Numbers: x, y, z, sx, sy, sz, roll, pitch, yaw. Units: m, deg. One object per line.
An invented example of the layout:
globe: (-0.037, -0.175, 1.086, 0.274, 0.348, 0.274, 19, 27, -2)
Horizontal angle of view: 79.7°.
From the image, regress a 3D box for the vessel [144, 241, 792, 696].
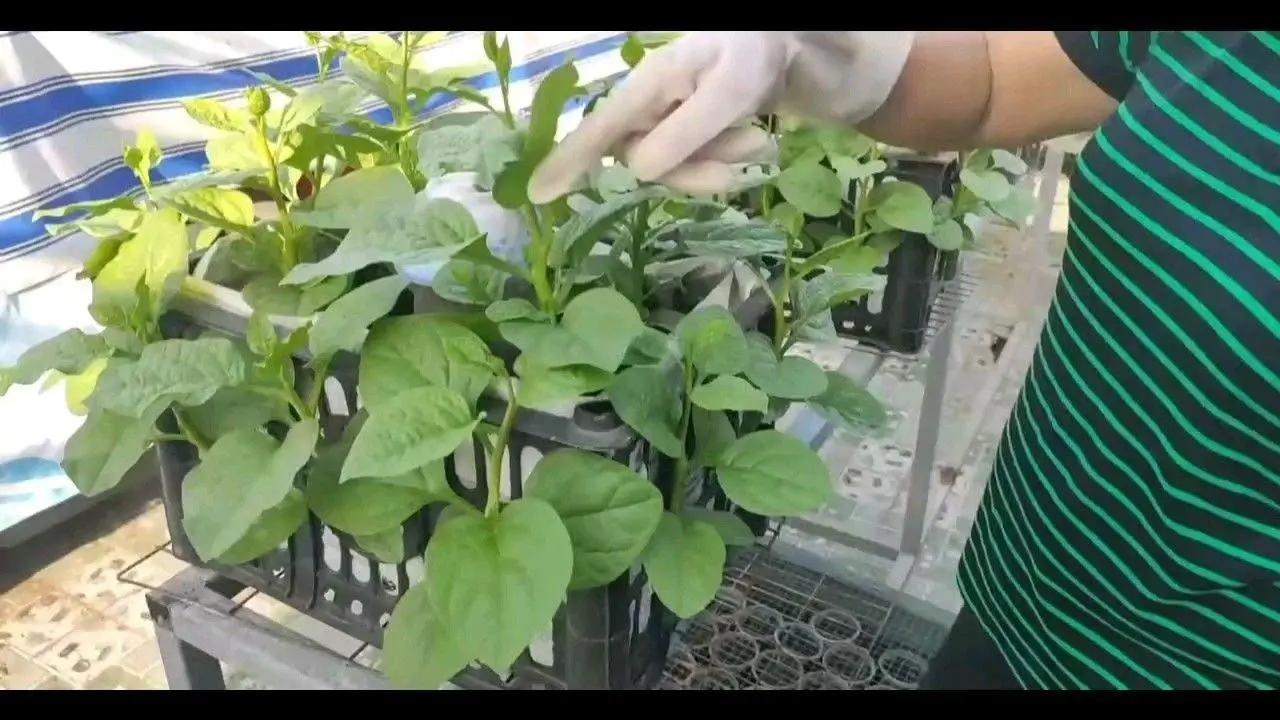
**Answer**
vessel: (-0.103, 0.133, 0.696, 0.527, 0.227, 0.343, 17, 40, 15)

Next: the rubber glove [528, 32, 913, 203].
rubber glove: (0.059, -0.158, 0.493, 0.244, 0.106, 0.074, -6, 14, -26)
